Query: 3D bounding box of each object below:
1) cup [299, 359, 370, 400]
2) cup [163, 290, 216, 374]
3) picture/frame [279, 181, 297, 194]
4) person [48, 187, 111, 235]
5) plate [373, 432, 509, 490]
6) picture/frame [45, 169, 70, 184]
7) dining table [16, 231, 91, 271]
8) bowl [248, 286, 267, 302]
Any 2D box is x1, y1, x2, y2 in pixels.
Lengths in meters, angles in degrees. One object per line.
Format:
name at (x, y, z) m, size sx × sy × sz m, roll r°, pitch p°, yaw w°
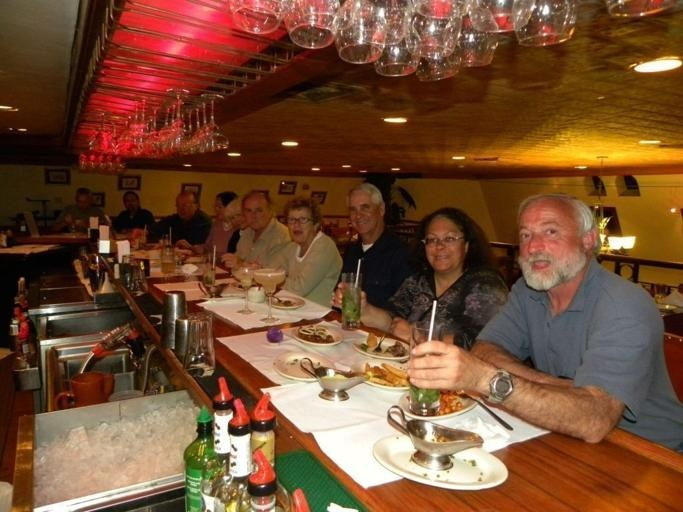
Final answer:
cup at (-0.053, 0.442, 1.663) m, size 0.254 × 0.090 × 0.099 m, roll 5°, pitch 3°, yaw 34°
cup at (-0.661, 0.325, 1.945) m, size 0.178 × 0.248 × 0.457 m, roll -3°, pitch 11°, yaw -31°
picture/frame at (-1.620, -2.015, 13.458) m, size 0.424 × 0.269 × 0.056 m, roll -6°, pitch 15°, yaw -40°
person at (-4.865, -0.818, 8.318) m, size 0.969 × 0.781 × 0.726 m, roll 6°, pitch 14°, yaw 30°
plate at (0.265, 0.566, 1.247) m, size 0.357 × 0.050 × 0.177 m, roll 2°, pitch 12°, yaw 14°
picture/frame at (-6.393, -1.763, 10.152) m, size 0.415 × 0.266 × 0.041 m, roll -1°, pitch 8°, yaw -31°
dining table at (-4.303, -0.037, 6.882) m, size 0.835 × 0.389 × 1.297 m, roll -8°, pitch 13°, yaw -31°
bowl at (-0.531, 0.247, 2.855) m, size 0.113 × 0.072 × 0.104 m, roll 2°, pitch 8°, yaw 0°
